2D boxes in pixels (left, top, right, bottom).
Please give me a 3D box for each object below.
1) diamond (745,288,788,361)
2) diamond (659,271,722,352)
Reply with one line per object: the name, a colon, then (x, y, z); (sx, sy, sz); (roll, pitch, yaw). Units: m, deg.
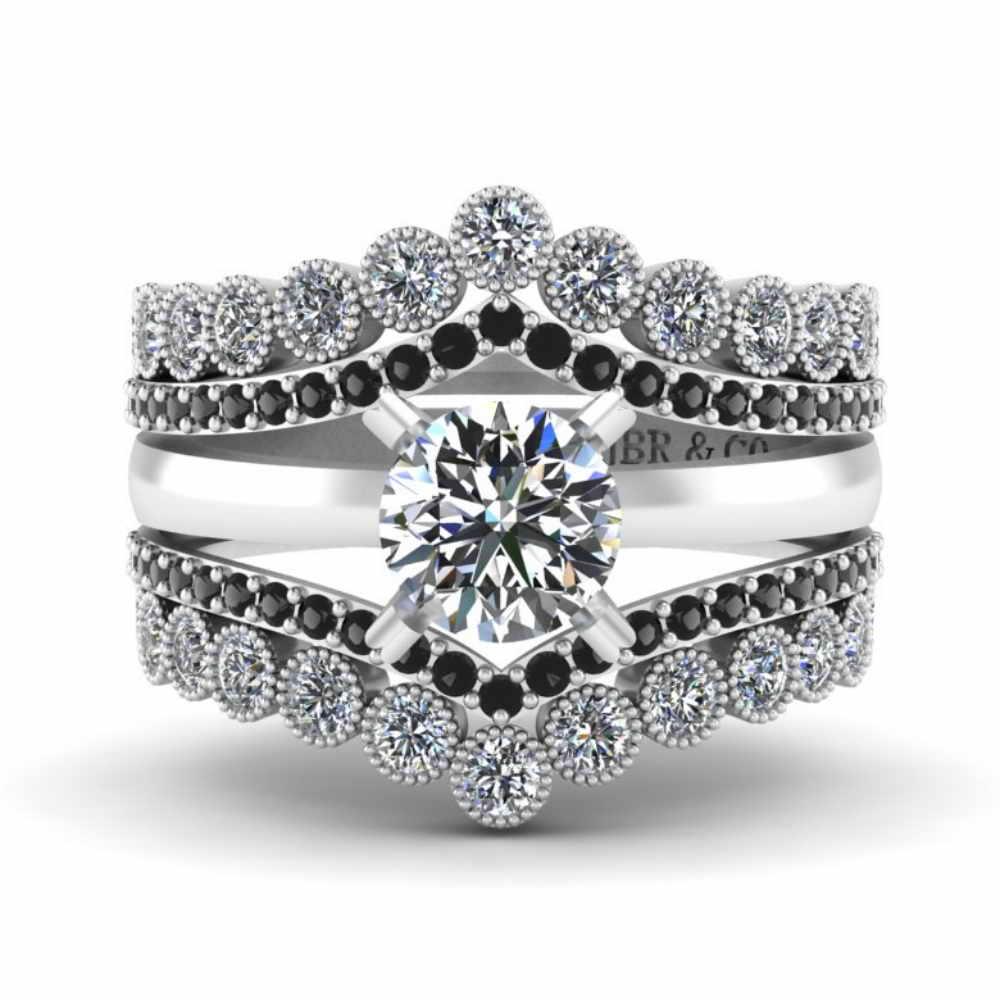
diamond: (0.599, -0.394, 2.821); (0.129, 0.047, 0.144); (-7, -84, -40)
diamond: (0.387, -0.426, 2.720); (0.141, 0.145, 0.048); (-32, -119, 17)
